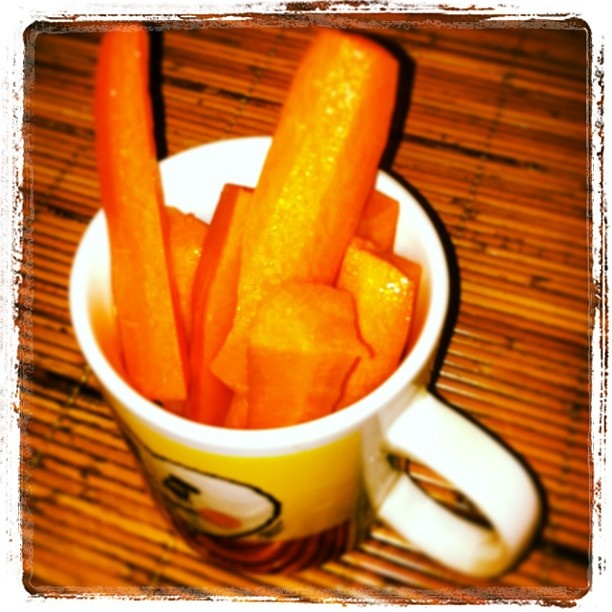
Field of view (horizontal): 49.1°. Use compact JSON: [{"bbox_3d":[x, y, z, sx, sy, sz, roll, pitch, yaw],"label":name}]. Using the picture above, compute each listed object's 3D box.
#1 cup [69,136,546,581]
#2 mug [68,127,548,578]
[{"bbox_3d":[0.003,0.072,0.617,0.410,0.283,0.267,35,62,19],"label":"cup"},{"bbox_3d":[-0.001,0.069,0.616,0.410,0.284,0.266,34,63,18],"label":"mug"}]
